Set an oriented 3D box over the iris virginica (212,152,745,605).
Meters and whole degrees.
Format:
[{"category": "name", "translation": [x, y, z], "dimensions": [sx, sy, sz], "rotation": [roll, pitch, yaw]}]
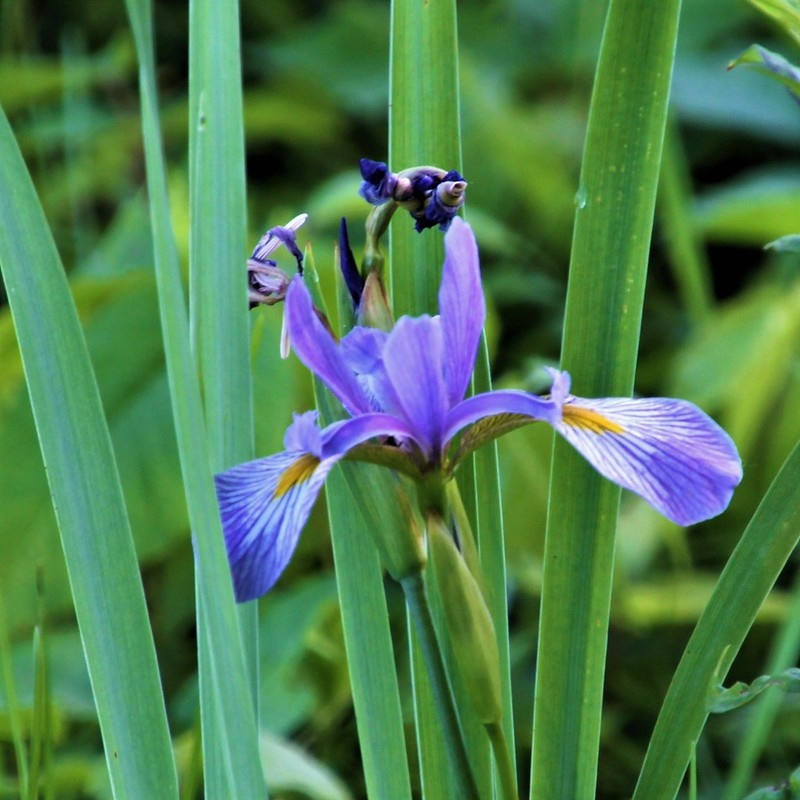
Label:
[{"category": "iris virginica", "translation": [0.031, 0.003, 0.613], "dimensions": [0.315, 0.318, 0.222], "rotation": [-9, -91, 38]}]
